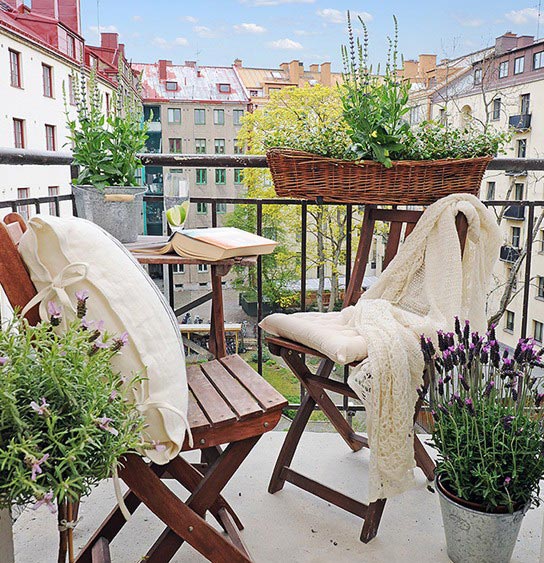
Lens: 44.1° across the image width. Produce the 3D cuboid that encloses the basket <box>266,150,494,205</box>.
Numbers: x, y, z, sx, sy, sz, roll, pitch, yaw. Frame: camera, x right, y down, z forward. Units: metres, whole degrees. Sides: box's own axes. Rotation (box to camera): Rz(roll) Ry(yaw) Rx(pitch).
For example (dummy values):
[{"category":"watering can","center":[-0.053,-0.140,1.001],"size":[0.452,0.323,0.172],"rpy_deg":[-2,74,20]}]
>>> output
[{"category":"basket","center":[0.303,-0.316,2.070],"size":[0.510,0.201,0.401],"rpy_deg":[7,11,34]}]

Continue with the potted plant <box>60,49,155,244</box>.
[{"category":"potted plant","center":[-0.543,-0.422,2.267],"size":[0.323,0.721,0.321],"rpy_deg":[2,12,-14]}]

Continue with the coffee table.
[{"category":"coffee table","center":[-0.218,0.096,2.047],"size":[0.298,0.271,0.300],"rpy_deg":[-4,-8,-7]}]
